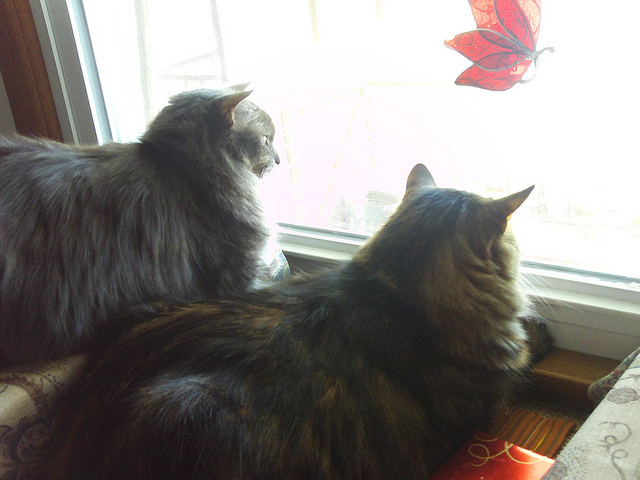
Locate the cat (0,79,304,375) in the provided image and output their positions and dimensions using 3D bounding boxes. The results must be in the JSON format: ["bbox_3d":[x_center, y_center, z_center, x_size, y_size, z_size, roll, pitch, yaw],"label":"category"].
[{"bbox_3d":[-0.405,-0.088,1.683,0.905,0.743,0.537,-3,6,-27],"label":"cat"}]
